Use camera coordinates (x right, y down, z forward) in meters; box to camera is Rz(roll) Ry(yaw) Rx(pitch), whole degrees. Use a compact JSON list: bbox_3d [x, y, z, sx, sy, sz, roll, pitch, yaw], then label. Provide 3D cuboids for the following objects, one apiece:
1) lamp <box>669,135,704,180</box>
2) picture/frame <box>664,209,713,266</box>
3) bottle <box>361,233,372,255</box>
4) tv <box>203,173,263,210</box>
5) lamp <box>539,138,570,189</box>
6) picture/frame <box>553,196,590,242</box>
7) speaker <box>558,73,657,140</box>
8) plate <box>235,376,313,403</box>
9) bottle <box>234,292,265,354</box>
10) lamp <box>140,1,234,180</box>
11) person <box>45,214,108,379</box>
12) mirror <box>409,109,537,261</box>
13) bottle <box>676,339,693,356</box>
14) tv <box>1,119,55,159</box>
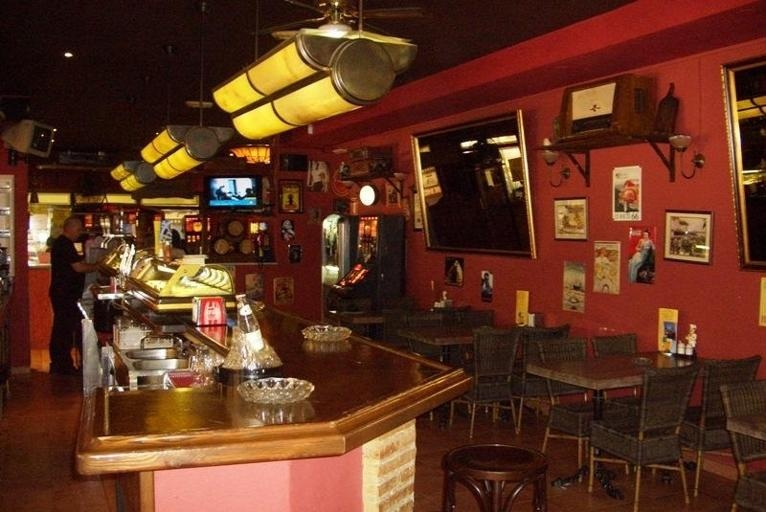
[{"bbox_3d":[3.014,-0.996,6.200,0.319,0.424,0.293,1,-4,-33],"label":"lamp"},{"bbox_3d":[3.145,-0.195,6.271,0.059,0.483,0.474,-7,29,-31],"label":"picture/frame"},{"bbox_3d":[-0.239,-0.179,10.191,0.240,0.292,0.081,3,-6,36],"label":"bottle"},{"bbox_3d":[-2.994,-1.265,12.219,0.123,0.647,1.301,7,9,37],"label":"tv"},{"bbox_3d":[2.035,-1.081,7.313,0.456,0.534,0.222,4,-10,-33],"label":"lamp"},{"bbox_3d":[2.264,-0.441,7.379,0.063,0.521,0.492,2,-4,-35],"label":"picture/frame"},{"bbox_3d":[2.426,-1.550,6.575,0.607,0.512,0.914,-4,8,-21],"label":"speaker"},{"bbox_3d":[-0.634,0.807,3.687,0.452,0.135,0.240,0,-3,-7],"label":"plate"},{"bbox_3d":[-0.855,0.434,3.973,0.178,0.369,0.280,0,-3,-12],"label":"bottle"},{"bbox_3d":[-2.473,-2.109,7.648,0.573,1.288,1.618,1,0,-23],"label":"lamp"},{"bbox_3d":[-4.650,0.591,9.185,0.572,2.363,0.957,2,-5,-39],"label":"person"},{"bbox_3d":[1.290,-1.015,8.412,0.095,1.631,2.363,-13,7,-32],"label":"mirror"},{"bbox_3d":[3.043,0.926,6.186,0.126,0.121,0.121,5,8,24],"label":"bottle"},{"bbox_3d":[-5.075,-1.671,8.732,1.112,0.392,0.308,8,6,12],"label":"tv"}]
